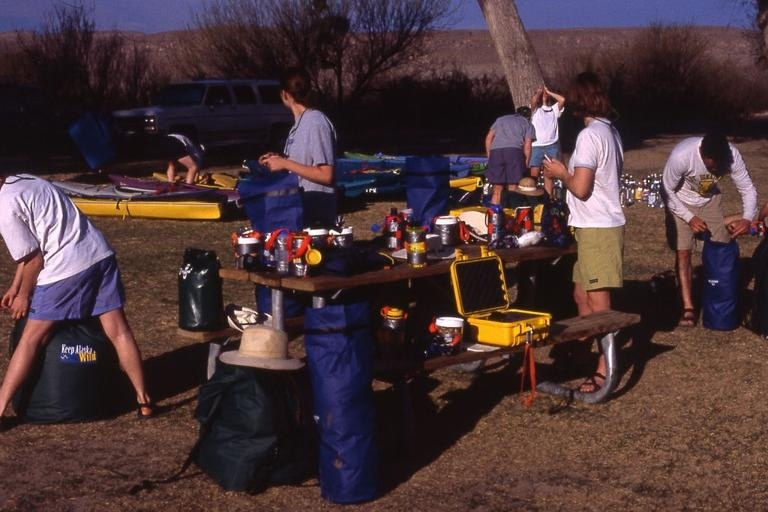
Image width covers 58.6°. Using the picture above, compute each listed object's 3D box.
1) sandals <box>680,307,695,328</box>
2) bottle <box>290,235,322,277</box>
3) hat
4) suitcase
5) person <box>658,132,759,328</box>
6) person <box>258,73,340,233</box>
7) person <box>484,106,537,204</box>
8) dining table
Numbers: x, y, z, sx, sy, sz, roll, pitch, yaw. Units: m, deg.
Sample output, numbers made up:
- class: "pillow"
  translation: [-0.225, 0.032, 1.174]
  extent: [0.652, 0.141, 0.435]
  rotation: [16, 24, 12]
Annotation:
- class: "sandals"
  translation: [3.505, 0.717, 7.890]
  extent: [0.135, 0.229, 0.104]
  rotation: [2, -17, 28]
- class: "bottle"
  translation: [-0.623, 0.002, 5.431]
  extent: [0.259, 0.319, 0.324]
  rotation: [-5, 11, -42]
- class: "hat"
  translation: [-0.949, 0.742, 5.356]
  extent: [0.440, 0.178, 0.448]
  rotation: [5, -4, 39]
- class: "suitcase"
  translation: [1.076, 0.354, 6.034]
  extent: [0.725, 0.908, 0.958]
  rotation: [-9, 7, -43]
- class: "person"
  translation: [3.579, -0.282, 7.625]
  extent: [0.925, 2.227, 0.623]
  rotation: [3, 19, 21]
- class: "person"
  translation: [-0.742, -0.997, 6.436]
  extent: [0.745, 1.454, 0.763]
  rotation: [-14, 20, -27]
- class: "person"
  translation: [2.224, -1.756, 11.948]
  extent: [0.827, 1.347, 0.761]
  rotation: [-1, 18, 10]
- class: "dining table"
  translation: [0.096, 0.218, 6.052]
  extent: [2.785, 0.605, 0.965]
  rotation: [-11, 18, -23]
